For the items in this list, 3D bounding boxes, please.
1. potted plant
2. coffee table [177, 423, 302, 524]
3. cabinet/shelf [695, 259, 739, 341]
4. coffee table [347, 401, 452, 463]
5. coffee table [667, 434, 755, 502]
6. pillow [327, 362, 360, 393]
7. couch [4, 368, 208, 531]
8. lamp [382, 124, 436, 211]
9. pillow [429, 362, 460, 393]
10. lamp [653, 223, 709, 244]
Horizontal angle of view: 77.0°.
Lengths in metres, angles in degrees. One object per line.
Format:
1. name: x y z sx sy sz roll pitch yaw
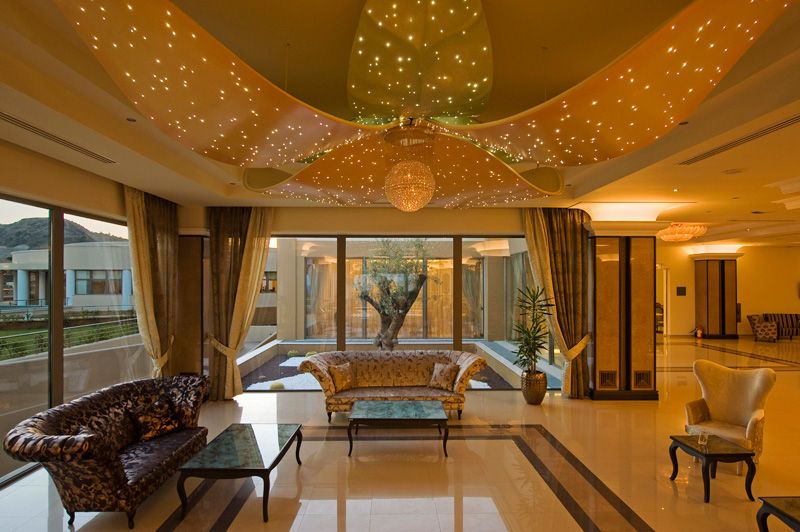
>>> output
1. potted plant: 2.221 1.265 8.352 0.807 1.987 0.792 6 -10 -31
2. coffee table: -1.733 2.245 5.767 0.903 0.410 1.678 3 -4 0
3. cabinet/shelf: 9.637 1.003 15.377 0.982 2.374 0.844 -2 2 5
4. coffee table: -0.036 2.103 6.682 1.311 0.535 0.921 0 7 2
5. coffee table: 3.457 2.233 5.599 0.589 0.473 0.756 -1 -4 7
6. pillow: -0.875 1.673 7.553 0.121 0.355 0.384 -32 -16 32
7. couch: -3.018 1.990 5.425 1.092 1.097 1.763 1 7 10
8. lamp: 0.080 -0.922 4.721 0.468 0.781 0.580 0 7 0
9. pillow: 0.656 1.684 7.649 0.432 0.309 0.368 2 7 14
10. lamp: 5.819 -0.713 10.389 0.759 0.368 0.655 2 7 21
